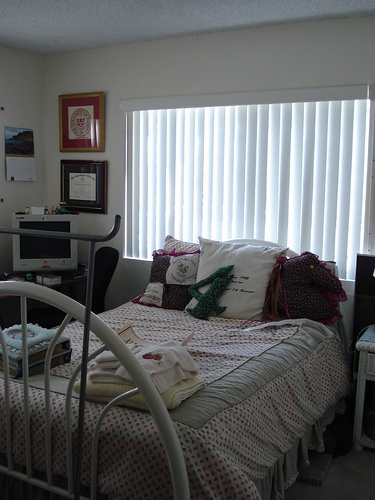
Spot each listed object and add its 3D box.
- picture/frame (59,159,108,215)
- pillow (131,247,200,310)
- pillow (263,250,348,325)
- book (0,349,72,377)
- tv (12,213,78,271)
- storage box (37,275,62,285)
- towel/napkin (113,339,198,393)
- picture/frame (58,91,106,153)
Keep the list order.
[{"bbox_3d":[-0.911,-0.573,3.683,0.501,0.497,0.037,6,11,27],"label":"picture/frame"},{"bbox_3d":[-0.128,0.221,2.768,0.123,0.394,0.413,23,-13,-41],"label":"pillow"},{"bbox_3d":[0.661,0.178,2.496,0.437,0.437,0.446,0,4,-42],"label":"pillow"},{"bbox_3d":[-0.556,0.444,1.605,0.125,0.030,0.128,0,4,39],"label":"book"},{"bbox_3d":[-1.222,-0.082,3.436,0.511,0.452,0.345,-1,9,-32],"label":"tv"},{"bbox_3d":[-1.081,0.225,3.210,0.123,0.043,0.094,6,7,37],"label":"storage box"},{"bbox_3d":[-0.081,0.371,1.348,0.210,0.074,0.216,2,7,27],"label":"towel/napkin"},{"bbox_3d":[-0.945,-1.125,3.652,0.027,0.500,0.513,20,27,31],"label":"picture/frame"}]
